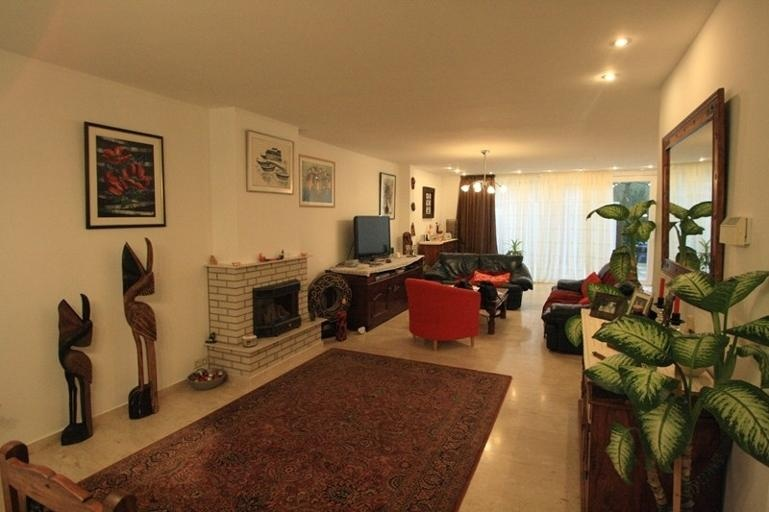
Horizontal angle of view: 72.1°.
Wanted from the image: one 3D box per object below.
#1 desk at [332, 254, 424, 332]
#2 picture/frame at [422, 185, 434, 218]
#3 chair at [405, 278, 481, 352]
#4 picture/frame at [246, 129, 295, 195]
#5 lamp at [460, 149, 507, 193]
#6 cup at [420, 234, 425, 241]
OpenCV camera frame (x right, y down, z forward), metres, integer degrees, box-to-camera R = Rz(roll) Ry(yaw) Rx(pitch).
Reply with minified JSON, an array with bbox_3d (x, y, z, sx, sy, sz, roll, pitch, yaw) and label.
[{"bbox_3d":[-0.039,0.511,8.186,0.699,0.820,2.307,2,6,22],"label":"desk"},{"bbox_3d":[0.887,-1.076,10.788,0.060,0.655,0.674,2,4,21],"label":"picture/frame"},{"bbox_3d":[0.722,0.616,6.427,0.775,0.853,0.933,-7,8,-36],"label":"chair"},{"bbox_3d":[-1.285,-1.047,5.787,0.031,0.621,0.776,2,5,24],"label":"picture/frame"},{"bbox_3d":[2.017,-1.774,10.657,0.662,0.674,0.777,2,-5,16],"label":"lamp"},{"bbox_3d":[0.764,-0.371,10.573,0.113,0.109,0.115,-1,4,0],"label":"cup"}]
